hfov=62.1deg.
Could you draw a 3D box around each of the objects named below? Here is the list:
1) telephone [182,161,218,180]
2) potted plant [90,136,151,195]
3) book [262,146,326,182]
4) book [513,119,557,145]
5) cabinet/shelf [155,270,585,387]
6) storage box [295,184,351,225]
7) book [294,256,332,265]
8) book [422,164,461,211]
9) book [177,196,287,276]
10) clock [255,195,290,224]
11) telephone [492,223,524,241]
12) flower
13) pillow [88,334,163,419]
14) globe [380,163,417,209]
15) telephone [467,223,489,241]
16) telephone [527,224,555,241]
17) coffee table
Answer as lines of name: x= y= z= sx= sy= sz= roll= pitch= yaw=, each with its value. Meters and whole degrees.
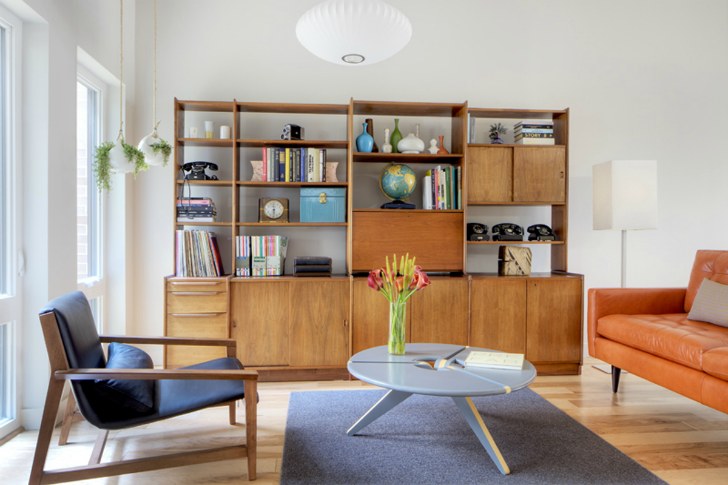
telephone: x=-1.664 y=-0.729 z=6.131 sx=0.360 sy=0.191 sz=0.328 roll=-1 pitch=4 yaw=-13
potted plant: x=-2.207 y=-0.689 z=5.393 sx=0.503 sy=0.441 sz=0.331 roll=2 pitch=4 yaw=33
book: x=-0.696 y=-0.772 z=6.010 sx=0.626 sy=0.336 sz=0.125 roll=-1 pitch=4 yaw=-9
book: x=1.764 y=-1.113 z=6.232 sx=0.307 sy=0.183 sz=0.298 roll=0 pitch=2 yaw=-4
cabinet/shelf: x=0.092 y=0.794 z=6.133 sx=4.097 sy=0.985 sz=0.524 roll=-2 pitch=-2 yaw=5
storage box: x=-0.328 y=-0.389 z=6.207 sx=0.565 sy=0.353 sz=0.334 roll=2 pitch=4 yaw=34
book: x=-0.507 y=0.183 z=6.021 sx=0.344 sy=0.080 sz=0.174 roll=0 pitch=3 yaw=3
book: x=0.796 y=-0.539 z=6.397 sx=0.420 sy=0.519 sz=0.541 roll=0 pitch=-2 yaw=-2
book: x=-1.346 y=-0.064 z=6.045 sx=0.887 sy=0.726 sz=0.276 roll=0 pitch=-3 yaw=-7
clock: x=-0.938 y=-0.334 z=6.125 sx=0.344 sy=0.298 sz=0.131 roll=0 pitch=-1 yaw=-6
telephone: x=1.496 y=-0.104 z=6.239 sx=0.350 sy=0.204 sz=0.173 roll=0 pitch=5 yaw=3
flower: x=0.273 y=0.522 z=5.028 sx=0.529 sy=0.777 sz=0.554 roll=8 pitch=-10 yaw=-40
pillow: x=-1.836 y=1.032 z=4.716 sx=0.445 sy=0.307 sz=0.892 roll=-7 pitch=16 yaw=-15
globe: x=0.352 y=-0.584 z=6.253 sx=0.352 sy=0.454 sz=0.389 roll=0 pitch=4 yaw=2
telephone: x=1.156 y=-0.109 z=6.222 sx=0.226 sy=0.159 sz=0.153 roll=0 pitch=2 yaw=-5
telephone: x=1.819 y=-0.100 z=6.265 sx=0.205 sy=0.117 sz=0.195 roll=0 pitch=-1 yaw=4
coffee table: x=0.572 y=1.299 z=4.744 sx=1.456 sy=0.828 sz=0.827 roll=1 pitch=4 yaw=15
